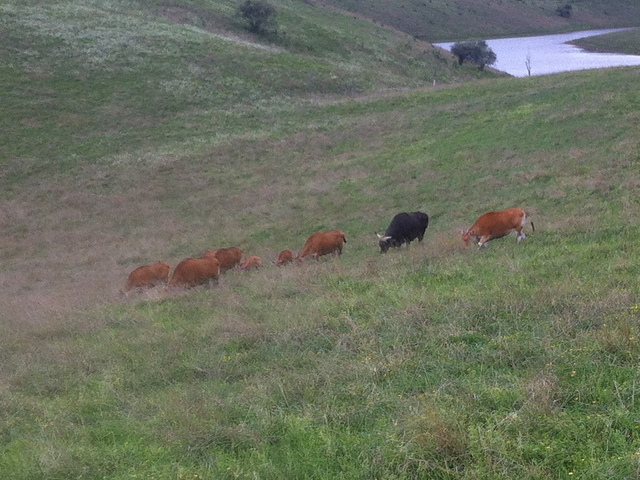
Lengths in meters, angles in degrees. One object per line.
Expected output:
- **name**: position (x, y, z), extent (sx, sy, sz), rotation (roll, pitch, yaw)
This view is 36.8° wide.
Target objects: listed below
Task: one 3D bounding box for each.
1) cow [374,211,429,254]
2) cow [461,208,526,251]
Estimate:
- **cow**: position (6.436, -0.638, 73.722), extent (3.646, 3.006, 1.078), rotation (-2, 13, -15)
- **cow**: position (12.776, -0.718, 69.674), extent (5.171, 2.805, 1.377), rotation (-9, 7, 0)
